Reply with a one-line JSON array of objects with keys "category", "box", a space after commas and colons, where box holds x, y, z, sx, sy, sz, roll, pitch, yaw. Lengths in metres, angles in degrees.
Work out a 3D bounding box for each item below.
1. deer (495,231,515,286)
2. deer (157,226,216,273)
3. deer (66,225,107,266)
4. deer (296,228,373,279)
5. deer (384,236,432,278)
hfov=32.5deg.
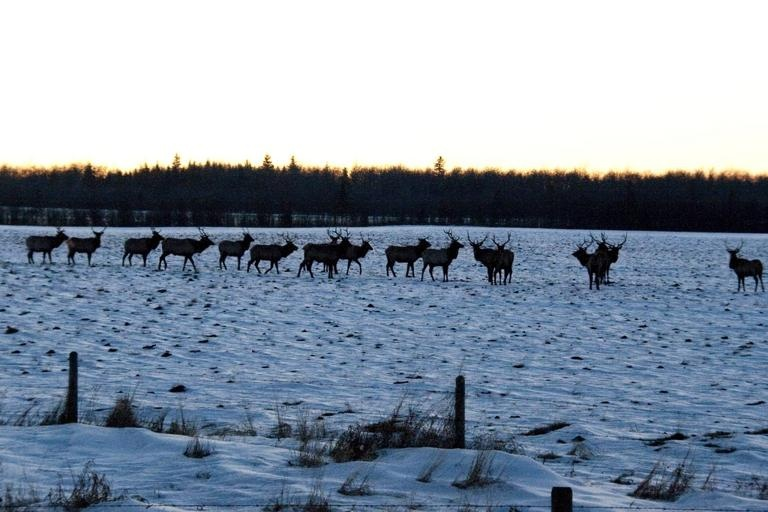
[{"category": "deer", "box": [7.811, 0.214, 87.221, 1.358, 3.459, 3.663, -2, 6, 18]}, {"category": "deer", "box": [-13.166, -0.545, 88.648, 3.706, 2.844, 1.686, 2, -1, -3]}, {"category": "deer", "box": [-20.134, -0.610, 88.426, 2.034, 2.316, 2.431, 6, -8, -23]}, {"category": "deer", "box": [-3.364, -0.189, 89.351, 5.708, 3.221, 2.277, -2, 7, -28]}, {"category": "deer", "box": [1.749, 0.015, 89.474, 3.170, 2.473, 0.873, -4, 5, -9]}]
